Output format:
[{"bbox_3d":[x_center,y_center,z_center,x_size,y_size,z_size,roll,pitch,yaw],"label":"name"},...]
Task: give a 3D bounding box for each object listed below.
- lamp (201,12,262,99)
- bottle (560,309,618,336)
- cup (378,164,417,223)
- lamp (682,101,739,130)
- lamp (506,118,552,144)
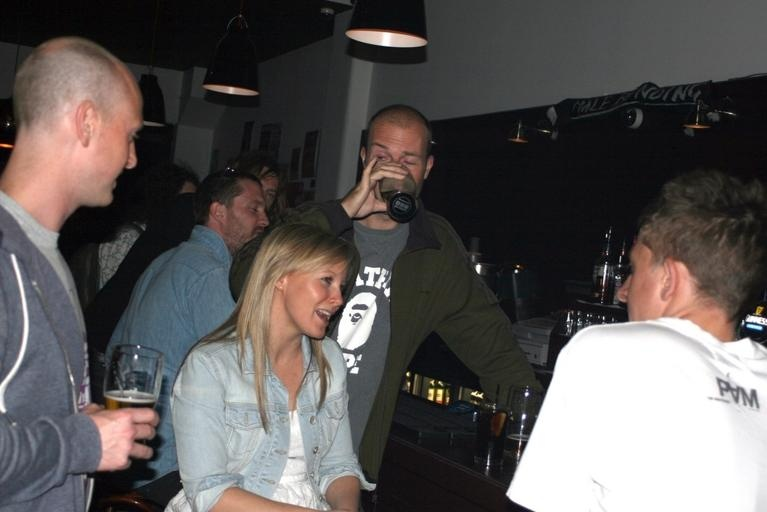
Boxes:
[{"bbox_3d":[-1.240,-1.666,4.862,0.400,0.617,0.445,5,4,-18],"label":"lamp"},{"bbox_3d":[0.983,0.320,2.870,0.352,0.112,0.256,1,1,-8],"label":"bottle"},{"bbox_3d":[0.055,-0.258,2.438,0.156,0.189,0.173,-8,0,-13],"label":"cup"},{"bbox_3d":[1.751,-0.737,3.189,0.248,0.129,0.267,7,4,26],"label":"lamp"},{"bbox_3d":[0.979,-0.821,3.976,0.321,0.146,0.133,12,11,4],"label":"lamp"}]
